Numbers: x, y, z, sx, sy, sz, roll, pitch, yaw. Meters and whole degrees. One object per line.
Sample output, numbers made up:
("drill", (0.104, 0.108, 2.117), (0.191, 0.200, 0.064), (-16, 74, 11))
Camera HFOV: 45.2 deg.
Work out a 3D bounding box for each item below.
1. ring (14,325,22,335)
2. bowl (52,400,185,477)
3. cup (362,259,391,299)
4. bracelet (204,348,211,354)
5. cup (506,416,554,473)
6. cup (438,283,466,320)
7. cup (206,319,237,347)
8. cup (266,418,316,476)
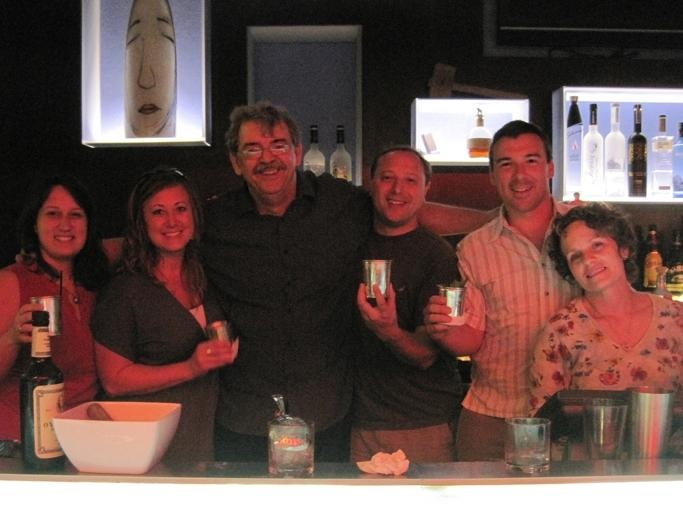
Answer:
("ring", (-1.269, 0.290, 3.217), (0.025, 0.034, 0.037), (2, -7, -4))
("bowl", (-0.753, 0.608, 2.807), (0.388, 0.154, 0.248), (0, -15, 0))
("cup", (0.139, 0.089, 3.260), (0.173, 0.182, 0.138), (0, -3, -2))
("bracelet", (-0.533, 0.377, 3.265), (0.026, 0.022, 0.025), (2, 0, -10))
("cup", (0.617, 0.632, 2.753), (0.184, 0.168, 0.172), (0, -2, 0))
("cup", (0.441, 0.174, 3.250), (0.137, 0.123, 0.127), (-1, -2, 0))
("cup", (-0.479, 0.302, 3.278), (0.097, 0.075, 0.090), (0, -4, 0))
("cup", (-0.169, 0.638, 2.752), (0.194, 0.177, 0.175), (0, -4, -1))
